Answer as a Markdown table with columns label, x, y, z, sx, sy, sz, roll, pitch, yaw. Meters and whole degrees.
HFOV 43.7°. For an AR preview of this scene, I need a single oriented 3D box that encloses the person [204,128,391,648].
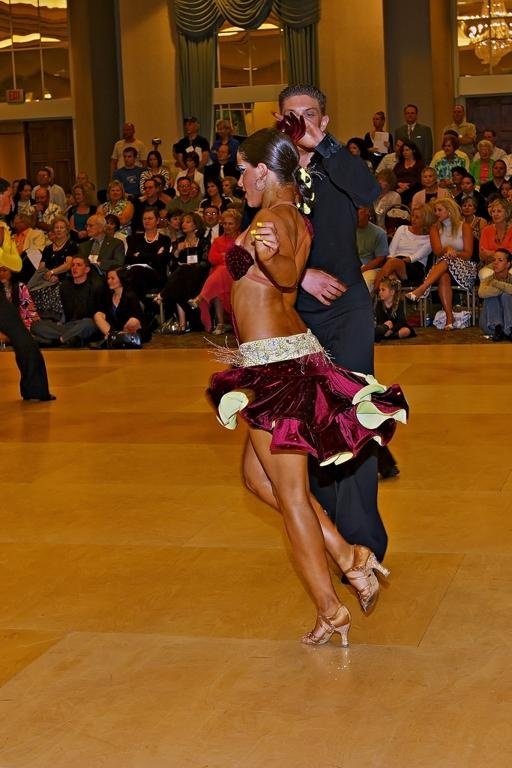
| label | x | y | z | sx | sy | sz | roll | pitch | yaw |
| --- | --- | --- | --- | --- | --- | --- | --- | --- | --- |
| person | 0.055 | 0.001 | 1.831 | 0.396 | 1.528 | 0.593 | -2 | -2 | 39 |

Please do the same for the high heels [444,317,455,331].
| label | x | y | z | sx | sy | sz | roll | pitch | yaw |
| --- | --- | --- | --- | --- | --- | --- | --- | --- | --- |
| high heels | 2.988 | -0.933 | 9.927 | 0.167 | 0.199 | 0.111 | 2 | 4 | -10 |

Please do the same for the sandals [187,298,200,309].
| label | x | y | z | sx | sy | sz | roll | pitch | yaw |
| --- | --- | --- | --- | --- | --- | --- | --- | --- | --- |
| sandals | -1.031 | -1.322 | 10.509 | 0.191 | 0.128 | 0.176 | -1 | 41 | 49 |

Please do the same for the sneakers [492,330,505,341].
| label | x | y | z | sx | sy | sz | roll | pitch | yaw |
| --- | --- | --- | --- | --- | --- | --- | --- | --- | --- |
| sneakers | 3.387 | -0.675 | 8.953 | 0.112 | 0.210 | 0.215 | -1 | 5 | -1 |

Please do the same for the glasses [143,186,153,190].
| label | x | y | z | sx | sy | sz | roll | pitch | yaw |
| --- | --- | --- | --- | --- | --- | --- | --- | --- | --- |
| glasses | -2.095 | -3.814 | 12.410 | 0.102 | 0.061 | 0.123 | -4 | -6 | 9 |

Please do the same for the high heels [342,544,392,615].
| label | x | y | z | sx | sy | sz | roll | pitch | yaw |
| --- | --- | --- | --- | --- | --- | --- | --- | --- | --- |
| high heels | 0.342 | 0.577 | 1.970 | 0.109 | 0.248 | 0.101 | -9 | -6 | -9 |
